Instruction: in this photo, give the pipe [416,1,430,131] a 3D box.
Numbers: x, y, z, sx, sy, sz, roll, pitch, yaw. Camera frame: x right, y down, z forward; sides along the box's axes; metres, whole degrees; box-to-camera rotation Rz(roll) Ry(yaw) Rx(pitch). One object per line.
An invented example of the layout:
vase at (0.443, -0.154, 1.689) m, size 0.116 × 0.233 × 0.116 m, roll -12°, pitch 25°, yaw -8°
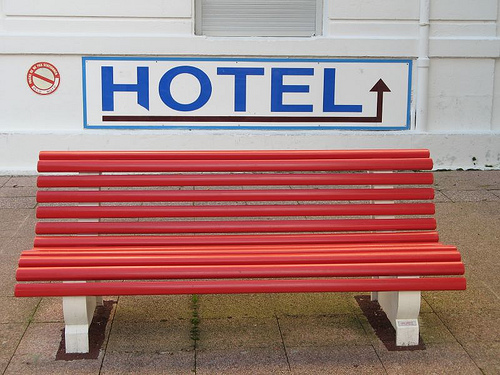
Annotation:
pipe at (2.382, -1.676, 8.316) m, size 0.160 × 1.755 × 0.123 m, roll 0°, pitch 10°, yaw 14°
